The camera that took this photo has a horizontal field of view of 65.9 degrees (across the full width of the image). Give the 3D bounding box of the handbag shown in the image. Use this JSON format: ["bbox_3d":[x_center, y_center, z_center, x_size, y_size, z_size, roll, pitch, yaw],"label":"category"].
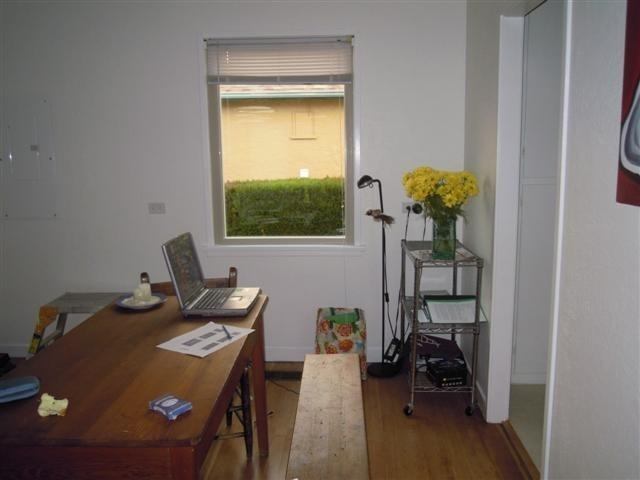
[{"bbox_3d":[0.163,0.794,4.042,0.440,0.842,0.493,1,0,3],"label":"handbag"}]

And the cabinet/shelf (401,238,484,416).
[{"bbox_3d":[0.915,0.625,3.803,0.432,1.085,1.146,2,3,11],"label":"cabinet/shelf"}]

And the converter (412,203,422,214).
[{"bbox_3d":[0.693,-0.218,3.474,0.067,0.073,0.016,-3,-5,34],"label":"converter"}]

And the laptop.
[{"bbox_3d":[-0.595,0.179,2.743,0.437,0.387,0.598,2,5,2],"label":"laptop"}]

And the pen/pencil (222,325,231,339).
[{"bbox_3d":[-0.460,0.453,2.409,0.022,0.018,0.218,5,9,-17],"label":"pen/pencil"}]

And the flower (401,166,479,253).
[{"bbox_3d":[0.742,-0.198,3.429,0.521,0.672,0.537,-1,13,0],"label":"flower"}]

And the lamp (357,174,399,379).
[{"bbox_3d":[0.465,0.288,3.777,0.312,1.545,0.504,-1,9,4],"label":"lamp"}]

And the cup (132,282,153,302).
[{"bbox_3d":[-1.014,0.297,2.806,0.094,0.103,0.100,4,19,-1],"label":"cup"}]
